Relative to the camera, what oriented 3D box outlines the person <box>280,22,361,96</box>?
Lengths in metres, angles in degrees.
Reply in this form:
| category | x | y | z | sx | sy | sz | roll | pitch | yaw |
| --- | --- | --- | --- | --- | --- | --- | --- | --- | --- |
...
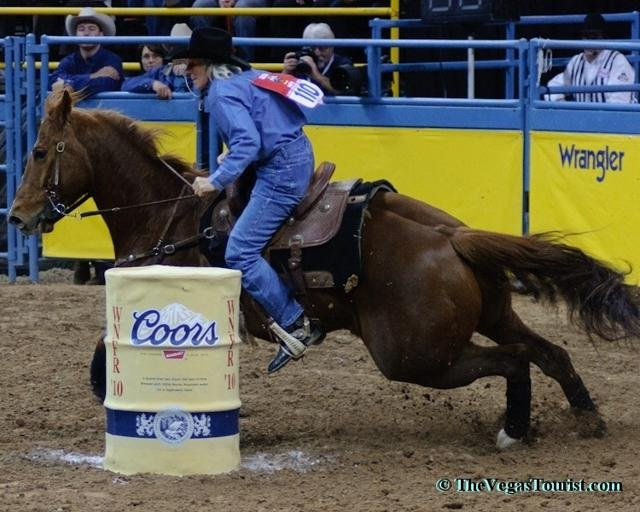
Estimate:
| category | x | y | z | sx | sy | sz | roll | pitch | yaw |
| --- | --- | --- | --- | --- | --- | --- | --- | --- | --- |
| person | 0.031 | -1.803 | 11.991 | 0.720 | 0.487 | 1.207 | -1 | 13 | -12 |

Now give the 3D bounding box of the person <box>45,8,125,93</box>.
| category | x | y | z | sx | sy | sz | roll | pitch | yaw |
| --- | --- | --- | --- | --- | --- | --- | --- | --- | --- |
| person | -2.217 | -1.919 | 12.450 | 0.668 | 0.813 | 1.167 | -2 | 10 | -8 |

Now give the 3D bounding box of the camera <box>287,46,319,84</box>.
| category | x | y | z | sx | sy | sz | roll | pitch | yaw |
| --- | --- | --- | --- | --- | --- | --- | --- | --- | --- |
| camera | -0.143 | -1.716 | 11.893 | 0.284 | 0.194 | 0.294 | -12 | 16 | 17 |

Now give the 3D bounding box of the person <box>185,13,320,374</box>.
| category | x | y | z | sx | sy | sz | roll | pitch | yaw |
| --- | --- | --- | --- | --- | --- | --- | --- | --- | --- |
| person | -0.430 | -0.354 | 8.857 | 0.901 | 2.306 | 0.596 | -1 | 11 | -4 |

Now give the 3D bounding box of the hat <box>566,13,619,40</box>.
| category | x | y | z | sx | sy | sz | roll | pitch | yaw |
| --- | --- | --- | --- | --- | --- | --- | --- | --- | --- |
| hat | 2.708 | -2.229 | 13.064 | 0.568 | 0.191 | 0.622 | 2 | 3 | 20 |

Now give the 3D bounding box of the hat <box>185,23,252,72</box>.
| category | x | y | z | sx | sy | sz | roll | pitch | yaw |
| --- | --- | --- | --- | --- | --- | --- | --- | --- | --- |
| hat | -0.679 | -1.392 | 8.802 | 0.353 | 0.126 | 0.260 | 14 | 17 | -11 |
